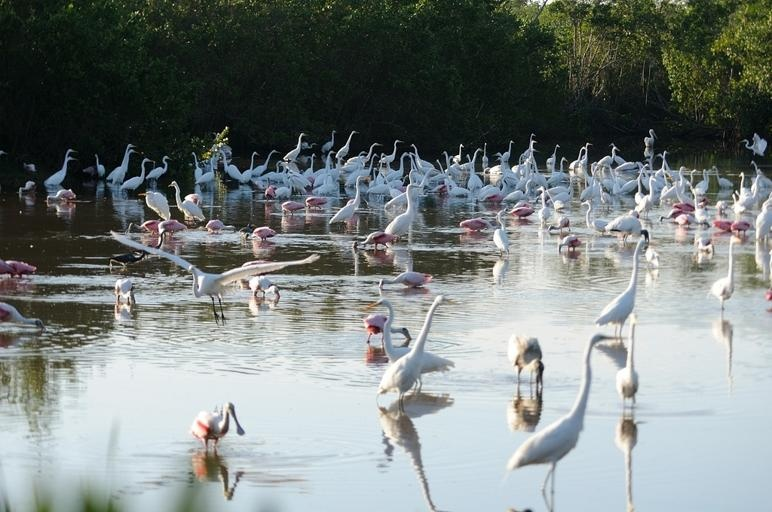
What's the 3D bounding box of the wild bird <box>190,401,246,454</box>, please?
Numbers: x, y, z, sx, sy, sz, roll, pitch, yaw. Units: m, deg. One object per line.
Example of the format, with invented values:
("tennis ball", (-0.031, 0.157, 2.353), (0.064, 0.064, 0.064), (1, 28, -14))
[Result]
("wild bird", (-3.101, 3.101, 21.868), (0.967, 0.901, 0.566), (1, 1, -3))
